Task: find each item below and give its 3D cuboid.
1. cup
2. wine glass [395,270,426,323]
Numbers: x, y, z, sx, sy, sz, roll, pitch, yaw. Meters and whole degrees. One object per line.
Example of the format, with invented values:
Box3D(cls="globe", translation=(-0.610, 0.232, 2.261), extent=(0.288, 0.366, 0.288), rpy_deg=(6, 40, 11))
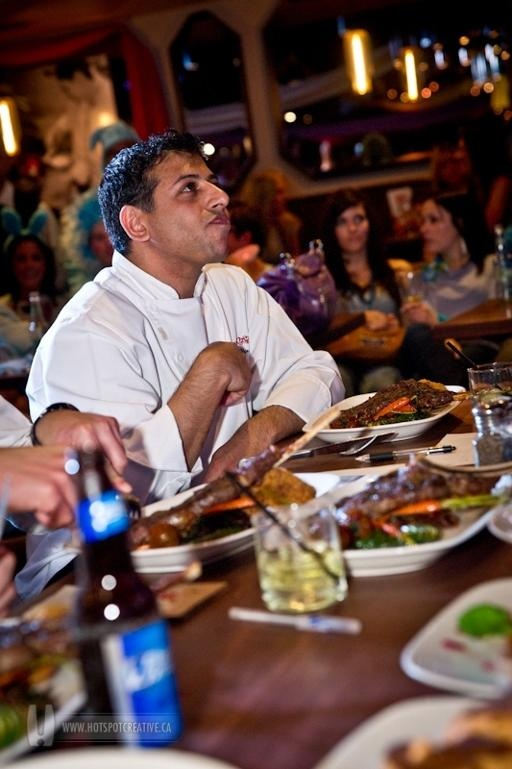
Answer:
Box3D(cls="cup", translation=(0.050, 0.208, 0.752), extent=(0.115, 0.112, 0.112), rpy_deg=(-8, -4, 0))
Box3D(cls="wine glass", translation=(1.092, -0.610, 4.447), extent=(0.157, 0.405, 0.324), rpy_deg=(-12, 13, 13))
